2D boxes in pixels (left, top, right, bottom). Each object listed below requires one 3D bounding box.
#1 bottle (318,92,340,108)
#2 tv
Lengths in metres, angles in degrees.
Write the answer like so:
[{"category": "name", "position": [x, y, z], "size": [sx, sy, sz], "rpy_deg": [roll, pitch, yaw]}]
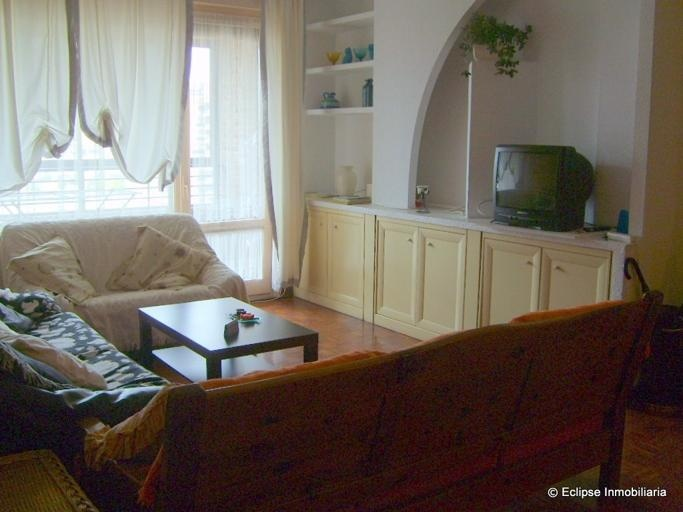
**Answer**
[{"category": "bottle", "position": [-0.147, -1.607, 5.674], "size": [0.210, 0.209, 0.204], "rpy_deg": [1, 2, -21]}, {"category": "tv", "position": [1.520, -0.512, 4.034], "size": [0.502, 0.583, 0.676], "rpy_deg": [-6, 13, -25]}]
